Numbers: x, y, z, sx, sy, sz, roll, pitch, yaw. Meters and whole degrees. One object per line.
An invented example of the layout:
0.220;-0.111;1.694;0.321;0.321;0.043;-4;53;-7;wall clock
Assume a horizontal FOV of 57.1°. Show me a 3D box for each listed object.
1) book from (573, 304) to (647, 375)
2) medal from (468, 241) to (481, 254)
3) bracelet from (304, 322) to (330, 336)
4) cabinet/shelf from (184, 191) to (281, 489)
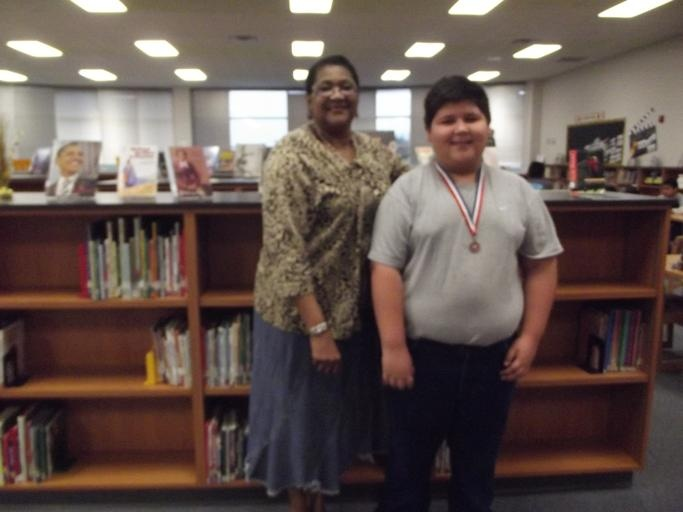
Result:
1.583;0.473;3.700;0.366;0.492;0.361;-1;2;0;book
0.601;-0.043;2.821;0.047;0.050;0.012;-7;4;-3;medal
-0.108;0.335;2.894;0.070;0.029;0.063;-20;-7;-25;bracelet
-0.468;0.426;3.548;0.678;1.437;0.458;-3;5;-8;cabinet/shelf
